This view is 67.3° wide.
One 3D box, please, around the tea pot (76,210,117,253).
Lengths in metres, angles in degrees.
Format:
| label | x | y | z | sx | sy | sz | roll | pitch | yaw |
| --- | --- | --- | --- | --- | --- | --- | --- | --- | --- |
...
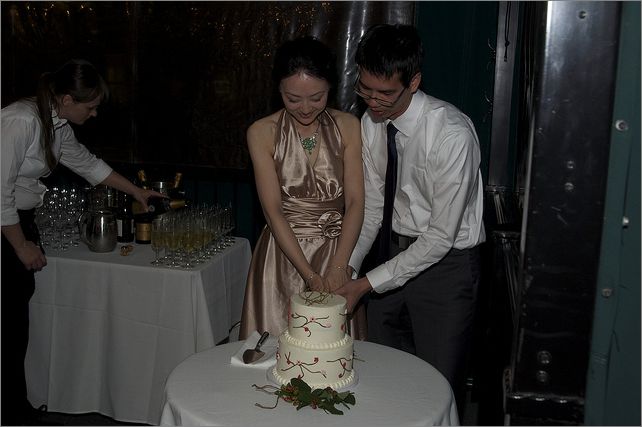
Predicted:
| label | x | y | z | sx | sy | sz | roll | pitch | yaw |
| --- | --- | --- | --- | --- | --- | --- | --- | --- | --- |
| tea pot | -1.542 | 0.122 | 3.371 | 0.285 | 0.312 | 0.207 | -4 | 10 | -26 |

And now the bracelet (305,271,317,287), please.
| label | x | y | z | sx | sy | sz | roll | pitch | yaw |
| --- | --- | --- | --- | --- | --- | --- | --- | --- | --- |
| bracelet | -0.052 | 0.334 | 2.420 | 0.018 | 0.073 | 0.044 | 24 | 16 | -42 |

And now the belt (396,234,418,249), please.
| label | x | y | z | sx | sy | sz | roll | pitch | yaw |
| --- | --- | --- | --- | --- | --- | --- | --- | --- | --- |
| belt | 0.433 | 0.146 | 2.475 | 0.069 | 0.049 | 0.073 | 4 | 7 | 26 |

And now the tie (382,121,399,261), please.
| label | x | y | z | sx | sy | sz | roll | pitch | yaw |
| --- | --- | --- | --- | --- | --- | --- | --- | --- | --- |
| tie | 0.344 | -0.095 | 2.470 | 0.047 | 0.765 | 0.054 | 5 | -7 | -14 |

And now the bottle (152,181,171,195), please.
| label | x | y | z | sx | sy | sz | roll | pitch | yaw |
| --- | --- | --- | --- | --- | --- | --- | --- | --- | --- |
| bottle | -1.192 | -0.183 | 3.611 | 0.110 | 0.091 | 0.103 | 4 | 3 | 19 |

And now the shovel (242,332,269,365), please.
| label | x | y | z | sx | sy | sz | roll | pitch | yaw |
| --- | --- | --- | --- | --- | --- | --- | --- | --- | --- |
| shovel | -0.272 | 0.585 | 2.071 | 0.080 | 0.031 | 0.257 | 8 | 14 | 10 |

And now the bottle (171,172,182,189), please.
| label | x | y | z | sx | sy | sz | roll | pitch | yaw |
| --- | --- | --- | --- | --- | --- | --- | --- | --- | --- |
| bottle | -1.114 | -0.256 | 3.692 | 0.061 | 0.111 | 0.146 | -4 | 15 | -15 |

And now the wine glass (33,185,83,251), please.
| label | x | y | z | sx | sy | sz | roll | pitch | yaw |
| --- | --- | --- | --- | --- | --- | --- | --- | --- | --- |
| wine glass | -1.886 | 0.023 | 3.461 | 0.343 | 0.424 | 0.413 | 2 | 3 | -5 |

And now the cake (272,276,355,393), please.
| label | x | y | z | sx | sy | sz | roll | pitch | yaw |
| --- | --- | --- | --- | --- | --- | --- | --- | --- | --- |
| cake | -0.033 | 0.509 | 1.919 | 0.282 | 0.319 | 0.319 | 4 | -1 | -5 |

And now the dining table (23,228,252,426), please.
| label | x | y | z | sx | sy | sz | roll | pitch | yaw |
| --- | --- | --- | --- | --- | --- | --- | --- | --- | --- |
| dining table | -1.174 | 0.493 | 3.388 | 1.369 | 1.041 | 1.028 | 4 | 8 | 17 |
